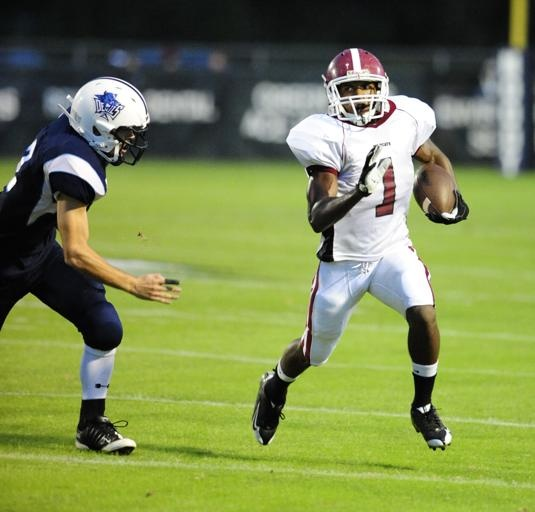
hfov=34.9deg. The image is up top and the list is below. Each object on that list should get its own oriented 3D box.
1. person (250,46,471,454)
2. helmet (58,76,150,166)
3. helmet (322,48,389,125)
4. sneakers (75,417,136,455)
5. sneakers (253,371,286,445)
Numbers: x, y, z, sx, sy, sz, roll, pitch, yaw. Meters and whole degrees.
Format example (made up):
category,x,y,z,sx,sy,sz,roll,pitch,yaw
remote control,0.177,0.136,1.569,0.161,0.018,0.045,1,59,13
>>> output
category,x,y,z,sx,sy,sz,roll,pitch,yaw
person,0.425,0.003,3.904,0.920,1.897,0.854,3,8,1
helmet,-0.698,-0.600,3.810,0.433,0.353,0.354,15,31,-8
helmet,0.406,-0.838,4.055,0.311,0.322,0.385,-12,22,-17
sneakers,-0.727,0.804,3.800,0.352,0.161,0.129,-5,-8,41
sneakers,0.006,0.716,4.037,0.121,0.159,0.380,33,31,-29
